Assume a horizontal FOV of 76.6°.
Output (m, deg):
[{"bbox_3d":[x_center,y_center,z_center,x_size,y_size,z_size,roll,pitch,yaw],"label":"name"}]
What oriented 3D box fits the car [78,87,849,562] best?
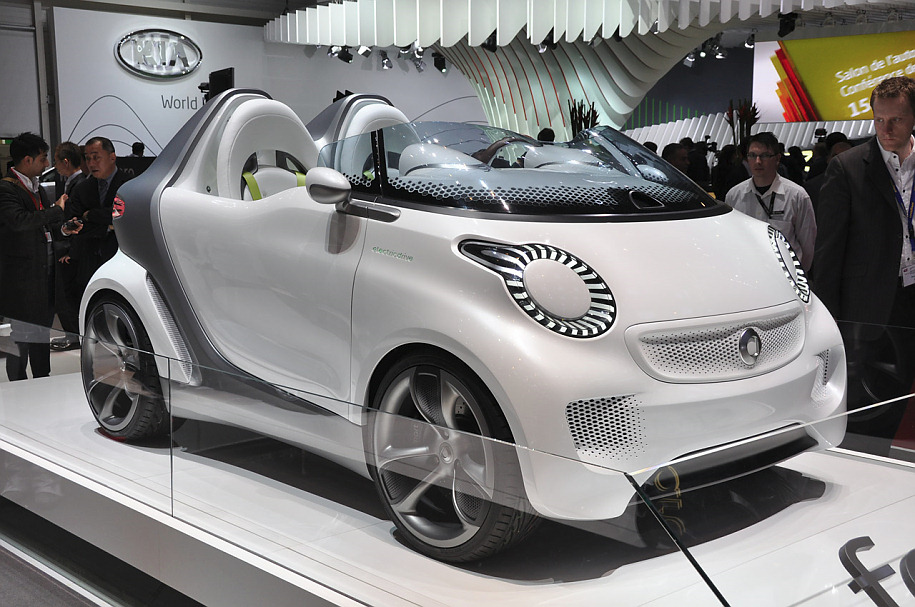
[{"bbox_3d":[-0.278,-0.007,2.678,2.998,1.467,1.856,5,7,37],"label":"car"}]
